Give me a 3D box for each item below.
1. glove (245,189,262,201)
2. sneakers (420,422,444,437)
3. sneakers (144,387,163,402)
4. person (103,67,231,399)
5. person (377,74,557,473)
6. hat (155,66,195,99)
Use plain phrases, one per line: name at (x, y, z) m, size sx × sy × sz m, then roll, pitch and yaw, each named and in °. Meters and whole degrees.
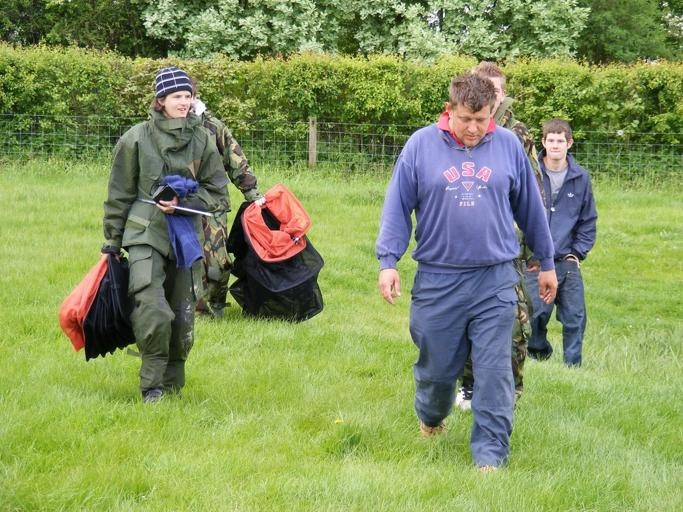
glove at (-1.118, -0.771, 13.554) m, size 0.156 × 0.138 × 0.160 m, roll -6°, pitch 14°, yaw 10°
sneakers at (0.902, 1.753, 10.755) m, size 0.164 × 0.164 × 0.160 m, roll 0°, pitch 0°, yaw -28°
sneakers at (-1.933, 1.427, 11.026) m, size 0.188 × 0.113 × 0.112 m, roll 0°, pitch 10°, yaw -13°
person at (-1.844, -0.254, 11.122) m, size 1.185 × 3.383 × 0.731 m, roll -1°, pitch 9°, yaw -15°
person at (1.035, 0.100, 10.289) m, size 1.303 × 3.654 × 0.857 m, roll 3°, pitch 9°, yaw 7°
hat at (-1.743, -1.817, 11.170) m, size 0.333 × 0.265 × 0.330 m, roll 0°, pitch 8°, yaw -18°
